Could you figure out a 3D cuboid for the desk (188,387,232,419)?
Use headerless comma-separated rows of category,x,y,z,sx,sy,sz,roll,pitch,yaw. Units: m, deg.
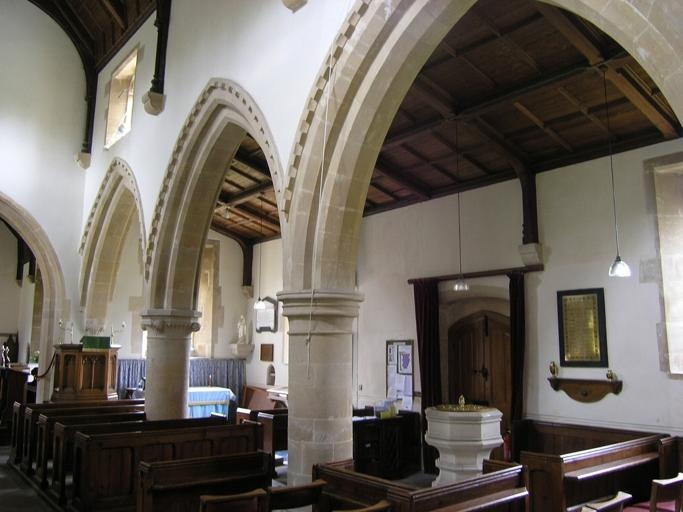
desk,-2.876,3.162,11.924,1.026,0.601,0.342,9,-15,-44
